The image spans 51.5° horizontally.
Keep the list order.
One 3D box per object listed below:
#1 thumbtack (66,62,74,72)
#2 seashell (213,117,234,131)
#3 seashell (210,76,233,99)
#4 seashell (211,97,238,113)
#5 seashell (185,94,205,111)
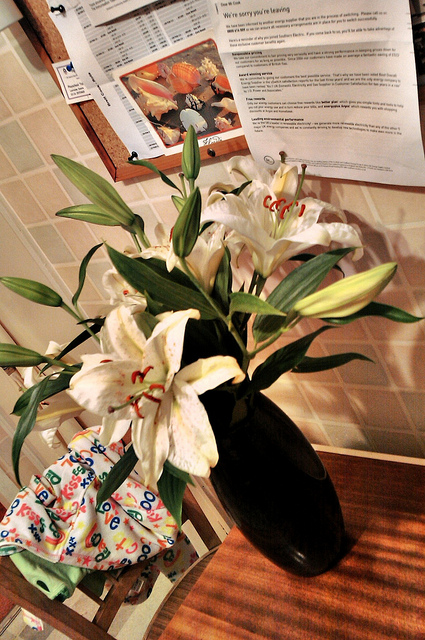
[{"bbox_3d":[-0.235,-0.419,0.733,0.019,0.011,0.004,20,62,44],"label":"thumbtack"},{"bbox_3d":[0.015,-0.293,0.661,0.014,0.021,0.005,9,51,34],"label":"seashell"},{"bbox_3d":[0.013,-0.329,0.625,0.025,0.028,0.010,14,40,30],"label":"seashell"},{"bbox_3d":[0.018,-0.311,0.639,0.031,0.018,0.008,22,56,13],"label":"seashell"},{"bbox_3d":[-0.026,-0.325,0.660,0.030,0.026,0.007,17,59,42],"label":"seashell"}]
